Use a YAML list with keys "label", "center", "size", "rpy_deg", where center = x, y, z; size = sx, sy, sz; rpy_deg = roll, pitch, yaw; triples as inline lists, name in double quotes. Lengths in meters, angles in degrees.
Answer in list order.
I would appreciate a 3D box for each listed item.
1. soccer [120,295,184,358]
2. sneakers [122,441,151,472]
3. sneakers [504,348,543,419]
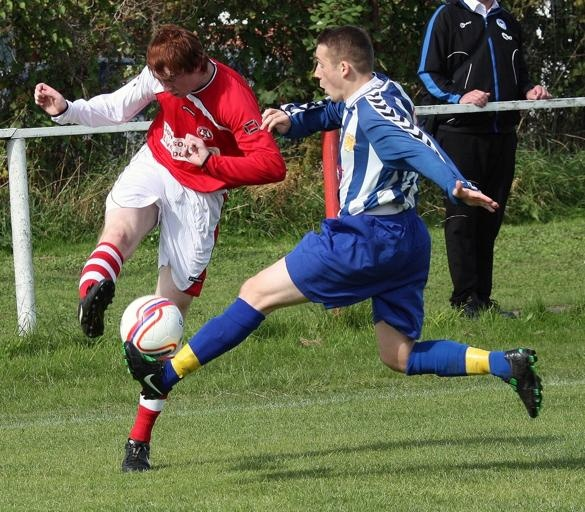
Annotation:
- label: "soccer"
  center: [-0.685, 0.374, 4.777]
  size: [0.297, 0.302, 0.252]
  rpy_deg: [8, -23, -16]
- label: "sneakers"
  center: [-0.757, 0.961, 4.748]
  size: [0.133, 0.133, 0.241]
  rpy_deg: [-4, 9, -9]
- label: "sneakers"
  center: [1.066, 0.562, 4.551]
  size: [0.153, 0.358, 0.126]
  rpy_deg: [-12, 13, 25]
